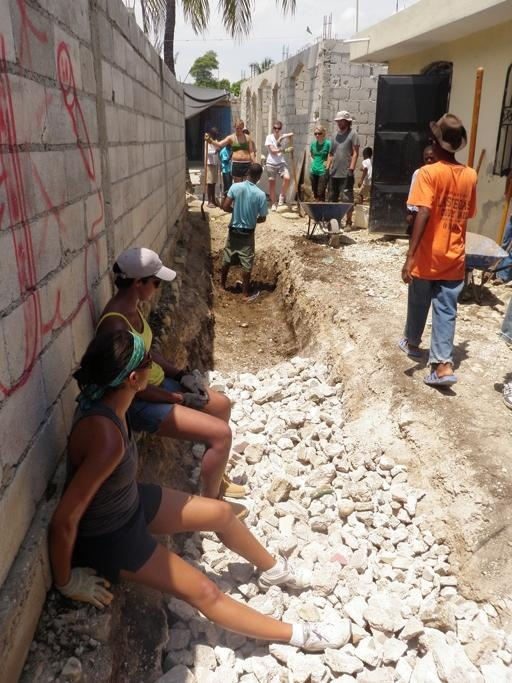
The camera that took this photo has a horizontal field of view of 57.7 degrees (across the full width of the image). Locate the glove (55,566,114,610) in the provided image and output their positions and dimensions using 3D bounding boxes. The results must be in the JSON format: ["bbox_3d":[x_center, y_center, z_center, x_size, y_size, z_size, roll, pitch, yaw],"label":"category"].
[{"bbox_3d":[-0.556,0.817,1.553,0.173,0.052,0.131,33,11,-27],"label":"glove"}]

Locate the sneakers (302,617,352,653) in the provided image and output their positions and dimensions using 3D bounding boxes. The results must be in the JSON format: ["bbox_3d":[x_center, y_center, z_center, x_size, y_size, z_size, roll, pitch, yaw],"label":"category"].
[{"bbox_3d":[0.328,1.313,2.076,0.268,0.119,0.104,-2,61,-13],"label":"sneakers"}]

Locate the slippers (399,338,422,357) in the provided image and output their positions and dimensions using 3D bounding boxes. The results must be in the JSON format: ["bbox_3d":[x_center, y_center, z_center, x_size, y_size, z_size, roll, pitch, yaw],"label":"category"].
[{"bbox_3d":[1.368,0.056,4.102,0.097,0.091,0.224,-5,30,-12],"label":"slippers"}]

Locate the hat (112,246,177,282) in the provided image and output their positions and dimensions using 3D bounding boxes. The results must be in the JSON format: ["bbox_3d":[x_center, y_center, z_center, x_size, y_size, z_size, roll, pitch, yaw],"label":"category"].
[{"bbox_3d":[-0.577,-0.404,2.372,0.263,0.145,0.178,-7,31,-16],"label":"hat"}]

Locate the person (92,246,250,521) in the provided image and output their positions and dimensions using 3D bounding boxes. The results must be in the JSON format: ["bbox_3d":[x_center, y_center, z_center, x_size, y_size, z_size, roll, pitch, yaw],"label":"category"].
[{"bbox_3d":[-0.416,0.224,2.601,0.831,1.458,0.550,1,18,-7],"label":"person"}]

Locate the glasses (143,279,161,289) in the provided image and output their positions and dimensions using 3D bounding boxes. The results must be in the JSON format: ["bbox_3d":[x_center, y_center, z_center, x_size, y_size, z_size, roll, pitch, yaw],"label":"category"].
[{"bbox_3d":[-0.542,-0.300,2.404,0.065,0.021,0.069,-12,40,-22],"label":"glasses"}]

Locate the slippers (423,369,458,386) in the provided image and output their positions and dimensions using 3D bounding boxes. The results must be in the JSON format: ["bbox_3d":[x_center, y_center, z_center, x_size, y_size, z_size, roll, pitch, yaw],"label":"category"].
[{"bbox_3d":[1.416,0.299,3.530,0.104,0.124,0.257,-5,11,-6],"label":"slippers"}]

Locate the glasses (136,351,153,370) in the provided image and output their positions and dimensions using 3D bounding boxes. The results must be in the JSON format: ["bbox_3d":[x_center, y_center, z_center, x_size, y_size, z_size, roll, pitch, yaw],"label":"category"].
[{"bbox_3d":[-0.409,0.070,1.713,0.042,0.059,0.045,8,13,16],"label":"glasses"}]

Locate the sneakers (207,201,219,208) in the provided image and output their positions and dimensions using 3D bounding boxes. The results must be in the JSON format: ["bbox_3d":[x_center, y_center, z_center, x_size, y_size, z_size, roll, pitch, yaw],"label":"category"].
[{"bbox_3d":[-1.092,-3.472,11.859,0.129,0.172,0.391,-18,33,-20],"label":"sneakers"}]

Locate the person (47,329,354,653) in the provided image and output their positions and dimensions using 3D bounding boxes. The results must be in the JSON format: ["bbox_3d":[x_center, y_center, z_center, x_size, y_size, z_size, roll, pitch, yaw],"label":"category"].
[{"bbox_3d":[-0.162,0.570,1.762,1.052,1.168,0.569,9,23,3],"label":"person"}]

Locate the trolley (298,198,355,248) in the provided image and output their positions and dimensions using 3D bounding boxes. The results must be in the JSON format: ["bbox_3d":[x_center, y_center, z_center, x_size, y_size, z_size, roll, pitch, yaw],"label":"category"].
[{"bbox_3d":[1.227,-2.086,8.071,0.774,0.723,1.036,5,24,8],"label":"trolley"}]

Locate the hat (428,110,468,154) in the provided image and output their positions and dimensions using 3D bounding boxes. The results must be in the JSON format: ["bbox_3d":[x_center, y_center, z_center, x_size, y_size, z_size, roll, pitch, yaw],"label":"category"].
[{"bbox_3d":[1.386,-1.490,3.331,0.227,0.259,0.244,22,31,40],"label":"hat"}]

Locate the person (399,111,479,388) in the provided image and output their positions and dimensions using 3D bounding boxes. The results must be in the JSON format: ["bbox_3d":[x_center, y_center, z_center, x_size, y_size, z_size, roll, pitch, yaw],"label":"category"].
[{"bbox_3d":[1.386,-0.642,3.484,0.553,1.923,0.607,13,25,26],"label":"person"}]
